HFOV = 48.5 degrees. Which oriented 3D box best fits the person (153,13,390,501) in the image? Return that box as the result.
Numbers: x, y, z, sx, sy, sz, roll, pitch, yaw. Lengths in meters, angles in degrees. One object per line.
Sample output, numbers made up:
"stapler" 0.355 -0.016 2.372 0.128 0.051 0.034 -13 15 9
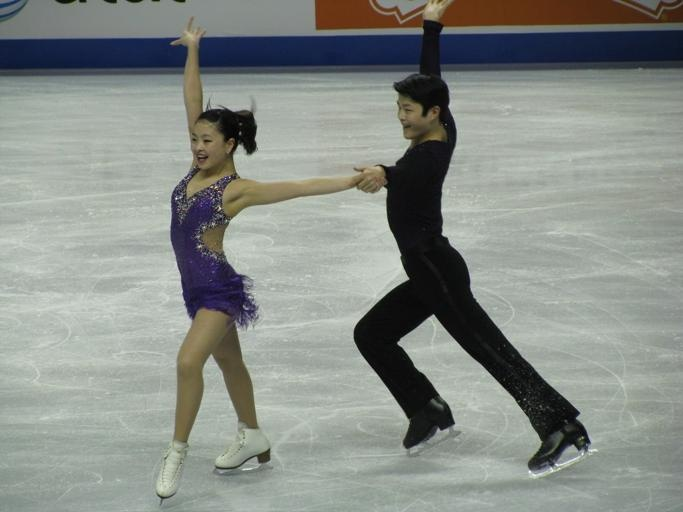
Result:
"person" -0.443 0.081 3.327 0.812 1.721 1.137 -4 17 -1
